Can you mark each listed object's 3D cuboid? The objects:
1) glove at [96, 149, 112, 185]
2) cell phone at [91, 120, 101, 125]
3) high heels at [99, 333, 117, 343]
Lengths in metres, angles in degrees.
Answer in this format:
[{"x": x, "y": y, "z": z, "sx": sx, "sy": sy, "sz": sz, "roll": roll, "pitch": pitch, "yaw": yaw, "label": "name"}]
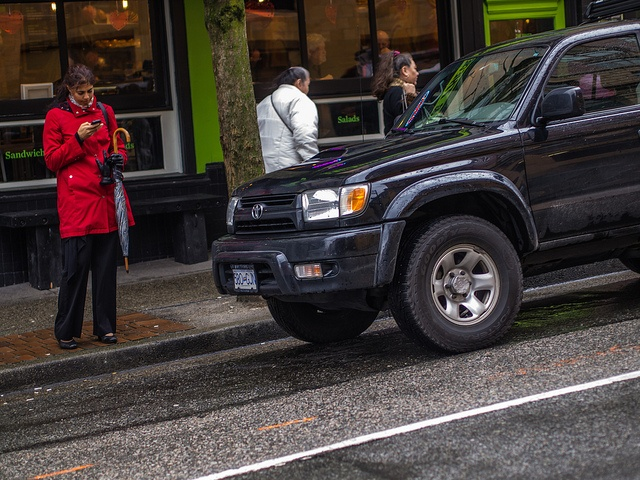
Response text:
[{"x": -2.051, "y": -0.689, "z": 6.262, "sx": 0.127, "sy": 0.268, "sz": 0.128, "roll": -10, "pitch": 5, "yaw": -30, "label": "glove"}, {"x": -2.092, "y": -1.104, "z": 6.164, "sx": 0.098, "sy": 0.040, "sz": 0.116, "roll": -9, "pitch": 5, "yaw": -18, "label": "cell phone"}, {"x": -2.047, "y": 0.962, "z": 6.396, "sx": 0.085, "sy": 0.063, "sz": 0.209, "roll": 1, "pitch": -6, "yaw": -29, "label": "high heels"}]
